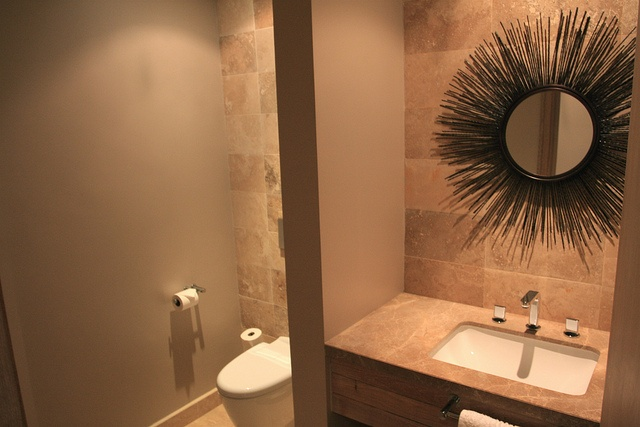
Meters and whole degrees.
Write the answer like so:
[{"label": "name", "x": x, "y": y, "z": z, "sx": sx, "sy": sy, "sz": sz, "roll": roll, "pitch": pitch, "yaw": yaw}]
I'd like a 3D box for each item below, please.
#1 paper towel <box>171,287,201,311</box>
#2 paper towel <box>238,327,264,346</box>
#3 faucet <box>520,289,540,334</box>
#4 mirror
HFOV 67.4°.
[{"label": "paper towel", "x": -0.908, "y": 0.575, "z": 3.226, "sx": 0.148, "sy": 0.131, "sz": 0.151, "roll": 6, "pitch": 5, "yaw": 24}, {"label": "paper towel", "x": -0.498, "y": 0.864, "z": 3.461, "sx": 0.120, "sy": 0.125, "sz": 0.116, "roll": -8, "pitch": 10, "yaw": -38}, {"label": "faucet", "x": 1.045, "y": 0.491, "z": 2.374, "sx": 0.182, "sy": 0.176, "sz": 0.067, "roll": -11, "pitch": 14, "yaw": -42}, {"label": "mirror", "x": 1.150, "y": -0.401, "z": 2.360, "sx": 0.494, "sy": 0.552, "sz": 0.056, "roll": 3, "pitch": 8, "yaw": 32}]
